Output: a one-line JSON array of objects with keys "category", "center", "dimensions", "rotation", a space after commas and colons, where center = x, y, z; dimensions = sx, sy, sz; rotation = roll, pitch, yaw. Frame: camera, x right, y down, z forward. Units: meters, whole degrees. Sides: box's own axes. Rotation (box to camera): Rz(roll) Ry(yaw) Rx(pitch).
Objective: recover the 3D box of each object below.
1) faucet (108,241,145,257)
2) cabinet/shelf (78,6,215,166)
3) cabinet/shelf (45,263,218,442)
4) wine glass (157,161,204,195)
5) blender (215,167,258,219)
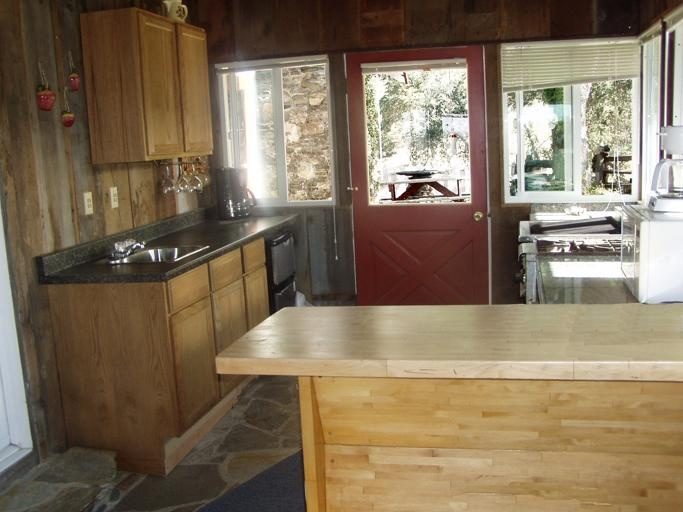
[{"category": "faucet", "center": [-1.382, -0.045, 3.729], "dimensions": [0.114, 0.068, 0.198], "rotation": [2, 2, 3]}, {"category": "cabinet/shelf", "center": [-1.325, -1.130, 3.875], "dimensions": [0.473, 1.044, 1.227], "rotation": [0, 10, 9]}, {"category": "cabinet/shelf", "center": [-1.134, 0.524, 3.838], "dimensions": [0.648, 1.103, 1.189], "rotation": [0, 11, 10]}, {"category": "wine glass", "center": [-1.219, -0.602, 4.455], "dimensions": [0.321, 0.228, 0.316], "rotation": [5, 11, 37]}, {"category": "blender", "center": [-0.914, -0.546, 5.050], "dimensions": [0.348, 0.441, 0.268], "rotation": [-8, 13, -25]}]
